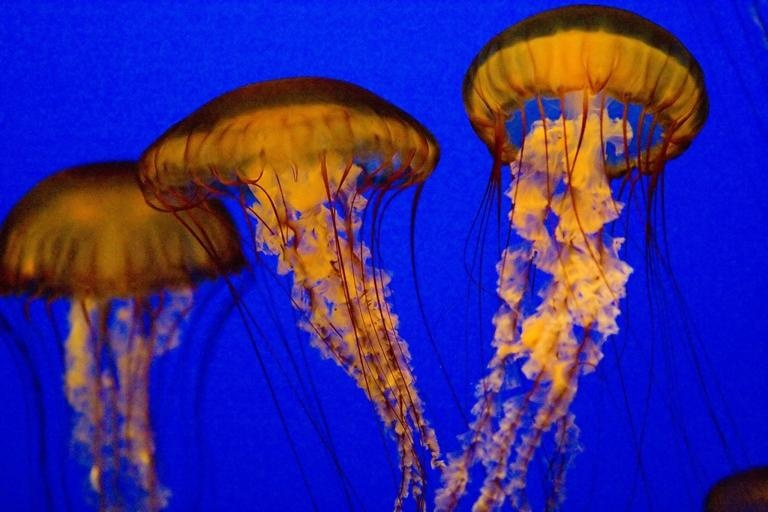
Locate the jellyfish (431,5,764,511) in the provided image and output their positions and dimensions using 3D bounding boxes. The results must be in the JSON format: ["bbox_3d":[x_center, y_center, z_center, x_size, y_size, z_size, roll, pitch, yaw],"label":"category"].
[{"bbox_3d":[0.931,0.022,5.096,1.066,2.199,1.614,11,-31,-35],"label":"jellyfish"}]
